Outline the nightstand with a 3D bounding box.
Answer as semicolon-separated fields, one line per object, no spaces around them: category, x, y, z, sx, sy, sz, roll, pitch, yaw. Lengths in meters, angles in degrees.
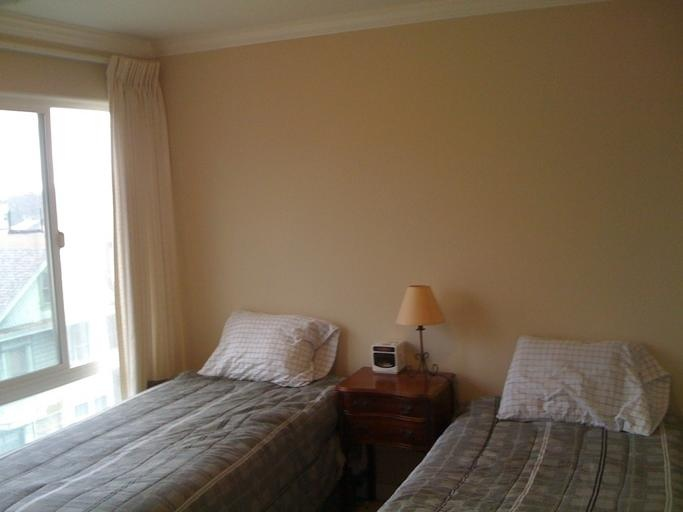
nightstand;0.246;1.274;3.268;0.609;0.773;0.528;5;-34;-1
